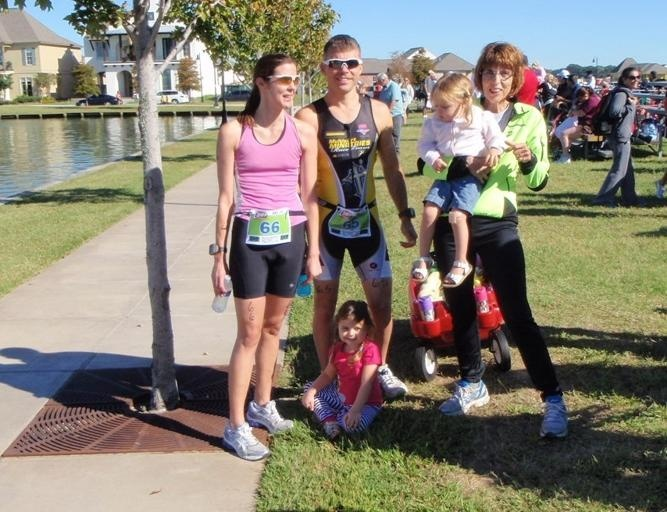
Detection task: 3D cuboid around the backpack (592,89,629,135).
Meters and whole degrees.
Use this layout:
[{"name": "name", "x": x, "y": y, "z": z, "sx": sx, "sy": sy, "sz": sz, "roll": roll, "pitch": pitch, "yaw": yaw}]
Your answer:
[{"name": "backpack", "x": 4.849, "y": -2.553, "z": 11.540, "sx": 0.296, "sy": 0.811, "sz": 0.602, "roll": -5, "pitch": 15, "yaw": -23}]

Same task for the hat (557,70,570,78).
[{"name": "hat", "x": 6.912, "y": -5.468, "z": 19.663, "sx": 0.409, "sy": 0.312, "sz": 0.588, "roll": 3, "pitch": 7, "yaw": 15}]

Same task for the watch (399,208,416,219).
[{"name": "watch", "x": 0.587, "y": -0.338, "z": 5.143, "sx": 0.092, "sy": 0.067, "sz": 0.094, "roll": -8, "pitch": 8, "yaw": 9}]

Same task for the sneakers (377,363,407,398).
[{"name": "sneakers", "x": 0.470, "y": 1.015, "z": 5.233, "sx": 0.130, "sy": 0.165, "sz": 0.355, "roll": -15, "pitch": 6, "yaw": -24}]

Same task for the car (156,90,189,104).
[{"name": "car", "x": -17.720, "y": -17.636, "z": 72.369, "sx": 3.233, "sy": 1.132, "sz": 1.664, "roll": 3, "pitch": 16, "yaw": -2}]

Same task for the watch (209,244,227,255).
[{"name": "watch", "x": -0.767, "y": -0.043, "z": 4.359, "sx": 0.066, "sy": 0.051, "sz": 0.091, "roll": 0, "pitch": 1, "yaw": 34}]

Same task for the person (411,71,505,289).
[{"name": "person", "x": 0.888, "y": -0.522, "z": 4.672, "sx": 0.622, "sy": 1.518, "sz": 0.579, "roll": 5, "pitch": 14, "yaw": 14}]

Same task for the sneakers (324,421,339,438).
[{"name": "sneakers", "x": -0.008, "y": 1.254, "z": 4.681, "sx": 0.095, "sy": 0.048, "sz": 0.131, "roll": 3, "pitch": -3, "yaw": -2}]

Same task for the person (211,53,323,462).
[{"name": "person", "x": -0.458, "y": -0.005, "z": 4.512, "sx": 0.480, "sy": 2.697, "sz": 0.757, "roll": 13, "pitch": 18, "yaw": 39}]

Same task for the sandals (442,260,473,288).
[{"name": "sandals", "x": 0.889, "y": 0.145, "z": 4.674, "sx": 0.187, "sy": 0.247, "sz": 0.279, "roll": 4, "pitch": 15, "yaw": 13}]

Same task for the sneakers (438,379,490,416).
[{"name": "sneakers", "x": 0.986, "y": 1.053, "z": 5.025, "sx": 0.413, "sy": 0.203, "sz": 0.180, "roll": -21, "pitch": 17, "yaw": -32}]

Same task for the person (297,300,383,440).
[{"name": "person", "x": 0.076, "y": 0.885, "z": 4.910, "sx": 0.551, "sy": 0.913, "sz": 0.656, "roll": -12, "pitch": 25, "yaw": -42}]

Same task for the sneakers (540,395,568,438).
[{"name": "sneakers", "x": 1.532, "y": 1.130, "z": 4.557, "sx": 0.132, "sy": 0.162, "sz": 0.350, "roll": -2, "pitch": 9, "yaw": 15}]
